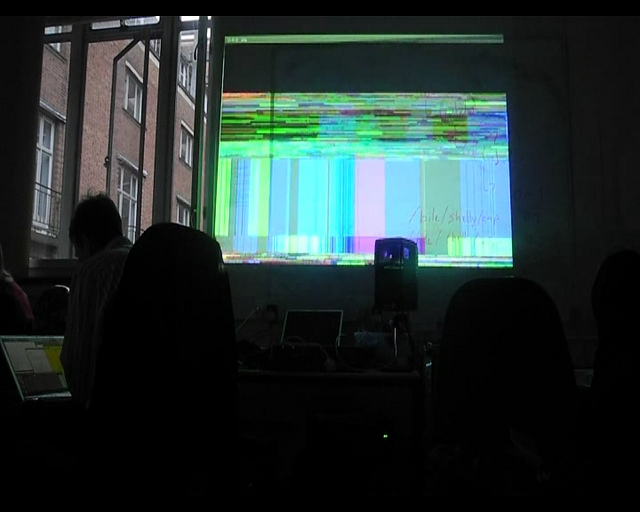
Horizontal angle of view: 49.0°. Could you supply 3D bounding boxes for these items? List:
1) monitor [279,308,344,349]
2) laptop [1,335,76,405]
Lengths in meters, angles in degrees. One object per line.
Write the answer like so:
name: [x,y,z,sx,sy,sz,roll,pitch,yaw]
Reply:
monitor: [-0.033,0.298,2.873,0.243,0.127,0.206,0,-1,-4]
laptop: [-1.002,0.394,2.454,0.061,0.258,0.260,-32,-22,34]
